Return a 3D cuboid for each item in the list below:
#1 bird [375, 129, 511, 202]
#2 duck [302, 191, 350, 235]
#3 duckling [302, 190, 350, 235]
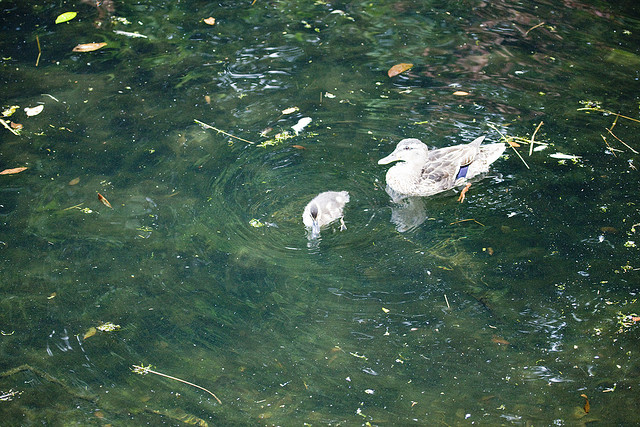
[{"bbox_3d":[2.098,-0.986,12.569,2.429,1.162,0.984,-19,39,7],"label":"bird"},{"bbox_3d":[0.128,-0.071,11.899,0.628,0.526,0.785,12,62,14],"label":"duck"},{"bbox_3d":[0.142,-0.072,11.853,0.694,0.519,0.772,15,63,13],"label":"duckling"}]
